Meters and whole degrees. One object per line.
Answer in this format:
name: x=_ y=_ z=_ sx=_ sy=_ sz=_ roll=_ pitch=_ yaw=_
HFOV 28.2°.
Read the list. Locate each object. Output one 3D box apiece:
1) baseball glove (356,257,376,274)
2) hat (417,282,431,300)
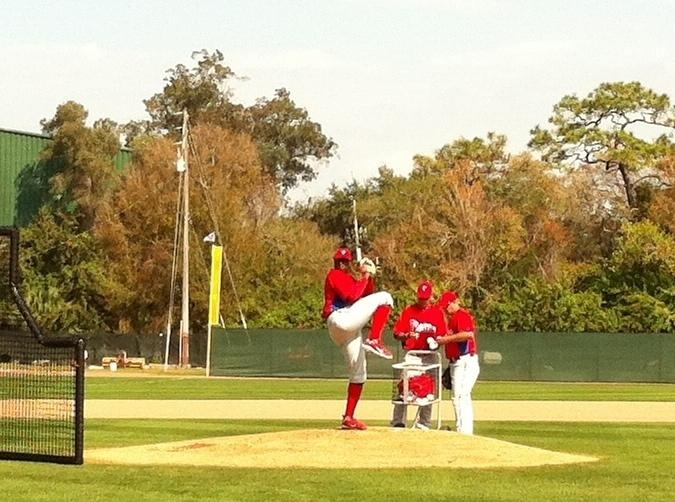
baseball glove: x=0.790 y=0.389 z=37.686 sx=0.353 sy=0.177 sz=0.452 roll=35 pitch=3 yaw=-42
hat: x=2.496 y=1.128 z=38.401 sx=0.502 sy=0.557 sz=0.291 roll=2 pitch=-6 yaw=-21
